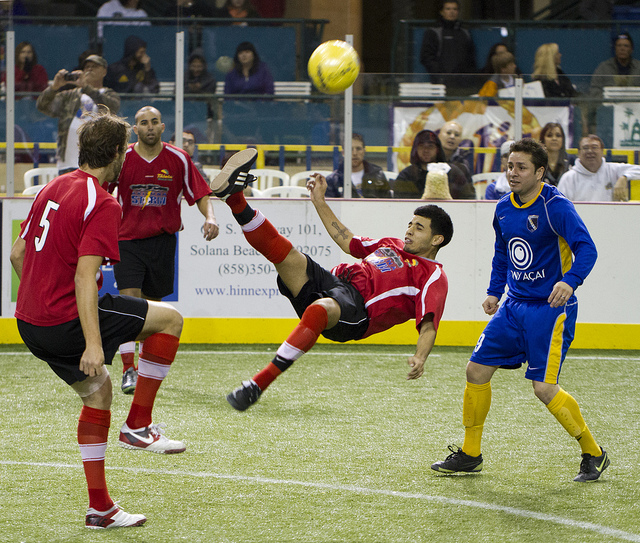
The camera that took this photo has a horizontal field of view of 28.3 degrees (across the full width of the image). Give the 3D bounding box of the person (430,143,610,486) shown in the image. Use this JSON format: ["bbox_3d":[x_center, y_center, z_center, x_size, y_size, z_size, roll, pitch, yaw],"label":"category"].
[{"bbox_3d":[1.347,0.234,8.079,0.966,2.101,0.864,4,10,18],"label":"person"}]

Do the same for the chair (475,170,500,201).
[{"bbox_3d":[1.555,-0.856,11.961,0.262,0.351,0.248,3,14,17],"label":"chair"}]

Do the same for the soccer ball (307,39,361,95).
[{"bbox_3d":[0.111,-1.744,10.639,0.417,0.441,0.311,1,10,2],"label":"soccer ball"}]

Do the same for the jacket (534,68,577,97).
[{"bbox_3d":[2.233,-1.782,11.948,0.396,0.208,0.130,3,10,11],"label":"jacket"}]

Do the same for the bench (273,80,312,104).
[{"bbox_3d":[-0.263,-1.666,11.940,0.462,0.260,0.175,2,-28,-3],"label":"bench"}]

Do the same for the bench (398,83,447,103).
[{"bbox_3d":[0.968,-1.701,11.887,0.445,0.174,0.138,2,10,8],"label":"bench"}]

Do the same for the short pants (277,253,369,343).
[{"bbox_3d":[0.022,0.195,9.039,0.617,0.600,0.335,8,12,36],"label":"short pants"}]

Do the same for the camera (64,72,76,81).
[{"bbox_3d":[-2.327,-1.832,11.727,0.103,0.070,0.197,-1,10,-11],"label":"camera"}]

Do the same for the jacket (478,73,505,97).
[{"bbox_3d":[1.613,-1.776,11.895,0.245,0.212,0.116,2,10,4],"label":"jacket"}]

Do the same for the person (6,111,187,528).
[{"bbox_3d":[-1.373,0.204,7.637,0.923,2.343,1.308,2,10,4],"label":"person"}]

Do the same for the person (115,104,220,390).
[{"bbox_3d":[-1.332,-0.197,9.781,1.005,2.254,0.919,0,2,-23],"label":"person"}]

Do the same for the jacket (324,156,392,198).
[{"bbox_3d":[0.370,-0.911,11.987,0.627,0.394,0.065,1,9,0],"label":"jacket"}]

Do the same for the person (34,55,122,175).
[{"bbox_3d":[-2.259,-1.245,11.781,0.721,1.665,0.487,-1,-16,2],"label":"person"}]

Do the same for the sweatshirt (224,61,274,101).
[{"bbox_3d":[-0.689,-1.810,12.083,0.494,0.515,0.274,-3,-7,8],"label":"sweatshirt"}]

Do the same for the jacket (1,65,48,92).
[{"bbox_3d":[-2.840,-1.891,12.199,0.392,0.245,0.441,-1,10,-14],"label":"jacket"}]

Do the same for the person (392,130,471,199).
[{"bbox_3d":[1.048,-1.068,11.952,0.763,0.741,0.398,3,3,19],"label":"person"}]
